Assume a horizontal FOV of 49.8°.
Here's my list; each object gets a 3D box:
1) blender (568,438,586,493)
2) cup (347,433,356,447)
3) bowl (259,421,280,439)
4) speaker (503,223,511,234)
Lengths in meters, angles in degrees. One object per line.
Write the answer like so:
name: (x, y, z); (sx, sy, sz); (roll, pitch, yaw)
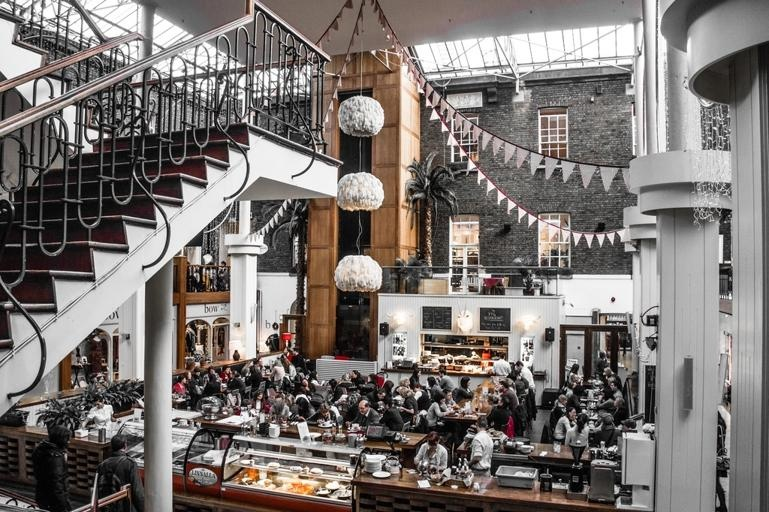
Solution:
blender: (2.789, 3.032, 11.923); (0.193, 0.496, 1.284); (1, -6, 14)
cup: (-0.466, 2.763, 12.385); (0.139, 0.174, 0.126); (-1, -4, 7)
bowl: (-1.790, 2.713, 12.952); (0.294, 0.103, 0.228); (1, -1, -8)
speaker: (3.599, -0.789, 23.991); (0.232, 0.232, 0.229); (2, 8, 17)
